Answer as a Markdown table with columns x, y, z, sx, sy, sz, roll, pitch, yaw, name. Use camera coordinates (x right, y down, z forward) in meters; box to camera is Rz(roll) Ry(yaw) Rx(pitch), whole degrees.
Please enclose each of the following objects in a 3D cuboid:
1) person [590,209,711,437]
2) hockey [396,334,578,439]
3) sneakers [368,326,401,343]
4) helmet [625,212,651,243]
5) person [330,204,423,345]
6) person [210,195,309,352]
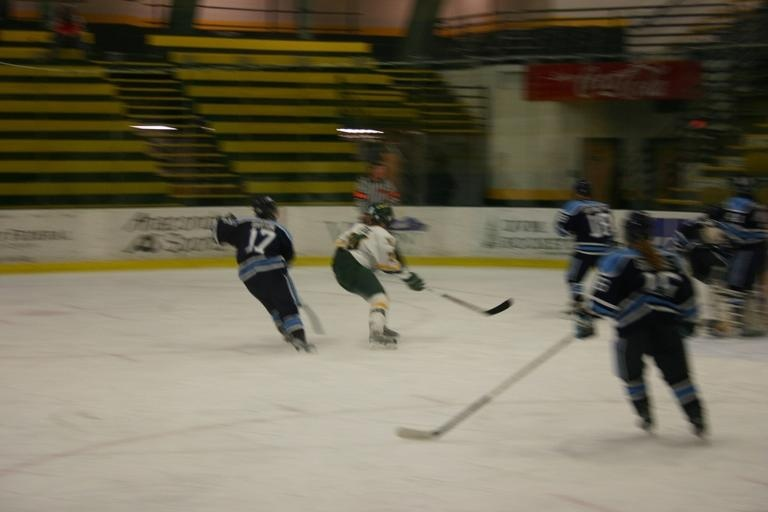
| x | y | z | sx | sy | sz | roll | pitch | yaw | name |
| --- | --- | --- | --- | --- | --- | --- | --- | --- | --- |
| 1.964 | 0.503 | 5.533 | 0.923 | 1.655 | 0.304 | 3 | 14 | 10 | person |
| 0.886 | 1.132 | 6.395 | 1.859 | 0.058 | 0.286 | -18 | 25 | -16 | hockey |
| 0.021 | 0.775 | 7.448 | 0.271 | 0.071 | 0.217 | 2 | 0 | -17 | sneakers |
| 1.850 | -0.206 | 5.451 | 0.201 | 0.219 | 0.159 | 3 | 12 | 13 | helmet |
| -0.027 | 0.180 | 7.623 | 0.775 | 1.329 | 0.807 | -4 | 13 | -20 | person |
| -1.121 | 0.167 | 7.408 | 1.047 | 1.463 | 0.563 | 11 | 16 | 41 | person |
